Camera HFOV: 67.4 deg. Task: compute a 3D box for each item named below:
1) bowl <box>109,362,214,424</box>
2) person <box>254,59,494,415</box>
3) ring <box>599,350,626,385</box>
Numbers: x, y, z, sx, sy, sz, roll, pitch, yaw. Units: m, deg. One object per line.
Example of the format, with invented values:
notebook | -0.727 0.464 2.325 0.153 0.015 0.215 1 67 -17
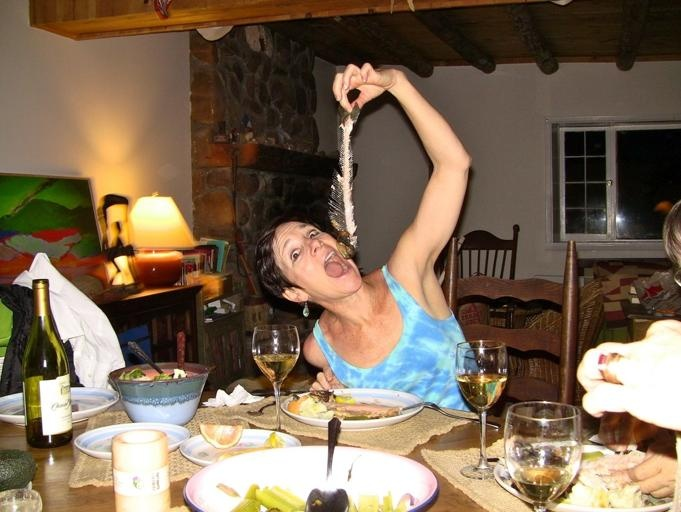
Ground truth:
bowl | -0.418 0.308 1.254 0.169 0.090 0.172 0 -4 0
person | 0.053 -0.034 1.573 0.670 1.025 0.434 1 5 15
ring | 0.404 0.168 0.759 0.015 0.031 0.042 -4 -39 34
